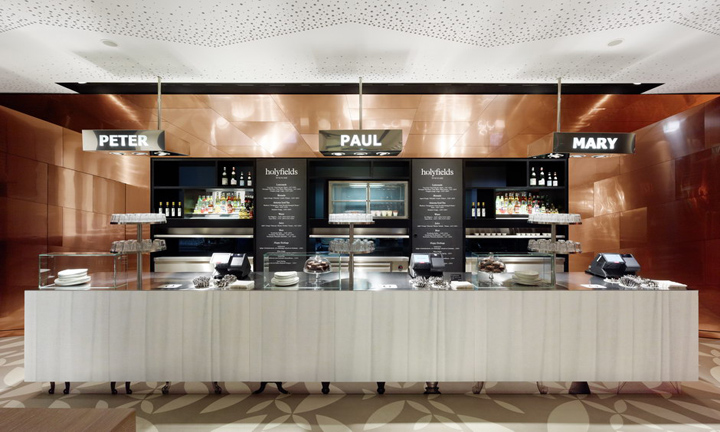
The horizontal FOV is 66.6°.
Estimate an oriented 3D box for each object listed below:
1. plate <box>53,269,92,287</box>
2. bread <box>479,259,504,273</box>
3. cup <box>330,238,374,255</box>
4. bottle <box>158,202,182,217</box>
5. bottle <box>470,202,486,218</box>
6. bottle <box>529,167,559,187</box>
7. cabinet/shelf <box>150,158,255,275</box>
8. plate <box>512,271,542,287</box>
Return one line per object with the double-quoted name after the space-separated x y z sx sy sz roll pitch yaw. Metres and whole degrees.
-4.270 0.911 8.118 0.363 0.117 0.335 1 2 23 "plate"
1.958 0.736 8.188 0.386 0.199 0.063 -1 -6 11 "bread"
-0.117 0.452 8.281 0.610 0.214 0.396 0 -4 4 "cup"
-3.659 -0.131 10.512 0.374 0.204 0.041 0 3 -8 "bottle"
2.307 -0.122 10.709 0.375 0.319 0.099 2 -13 -4 "bottle"
3.493 -0.756 10.490 0.579 0.389 0.202 0 -5 3 "bottle"
-3.025 -0.078 10.438 2.877 2.436 0.830 0 -3 -5 "cabinet/shelf"
2.464 0.931 8.144 0.303 0.102 0.287 -1 1 -38 "plate"
